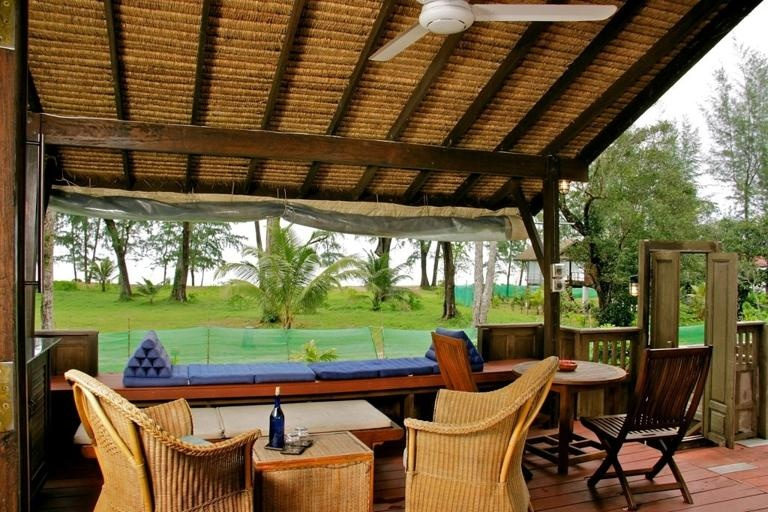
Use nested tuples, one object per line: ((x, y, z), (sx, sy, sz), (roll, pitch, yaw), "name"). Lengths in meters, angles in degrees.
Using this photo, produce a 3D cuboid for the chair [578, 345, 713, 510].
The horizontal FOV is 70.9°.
((2.351, 1.508, 4.793), (1.061, 1.392, 0.708), (-4, -5, 18), "chair")
